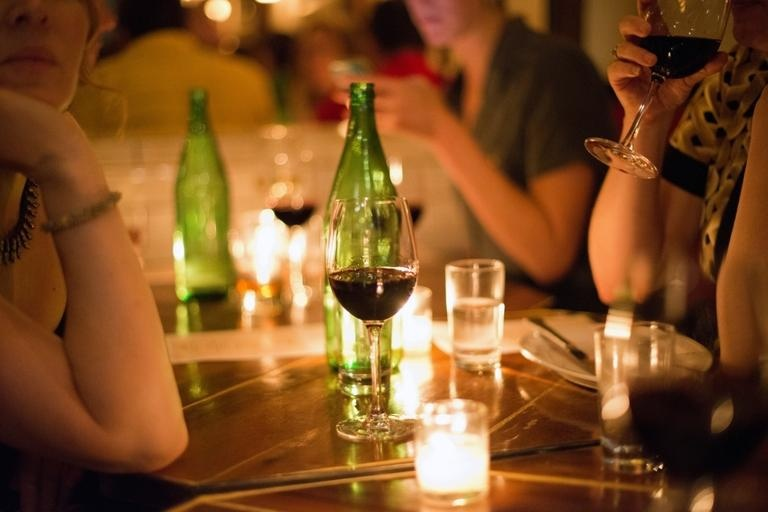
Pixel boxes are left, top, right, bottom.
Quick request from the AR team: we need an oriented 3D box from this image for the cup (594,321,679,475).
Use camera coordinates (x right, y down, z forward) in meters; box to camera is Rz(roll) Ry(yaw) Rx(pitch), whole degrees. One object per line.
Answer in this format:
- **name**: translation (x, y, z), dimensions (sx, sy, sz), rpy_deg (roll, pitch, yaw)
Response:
- **cup**: translation (0.307, 0.180, 0.910), dimensions (0.094, 0.154, 0.094), rpy_deg (-4, 19, 2)

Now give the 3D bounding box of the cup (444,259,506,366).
- **cup**: translation (0.150, 0.101, 1.257), dimensions (0.115, 0.184, 0.116), rpy_deg (-4, 4, 0)

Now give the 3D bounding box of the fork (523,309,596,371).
- **fork**: translation (0.276, 0.135, 1.155), dimensions (0.039, 0.135, 0.034), rpy_deg (-37, 59, 12)

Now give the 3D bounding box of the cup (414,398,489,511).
- **cup**: translation (0.082, 0.235, 0.886), dimensions (0.088, 0.100, 0.096), rpy_deg (-4, 19, 1)

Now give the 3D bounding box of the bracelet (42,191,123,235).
- **bracelet**: translation (-0.419, -0.071, 1.005), dimensions (0.073, 0.017, 0.060), rpy_deg (-26, -3, -36)
